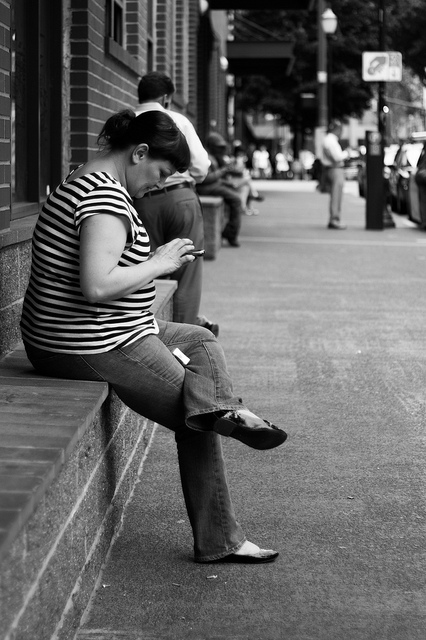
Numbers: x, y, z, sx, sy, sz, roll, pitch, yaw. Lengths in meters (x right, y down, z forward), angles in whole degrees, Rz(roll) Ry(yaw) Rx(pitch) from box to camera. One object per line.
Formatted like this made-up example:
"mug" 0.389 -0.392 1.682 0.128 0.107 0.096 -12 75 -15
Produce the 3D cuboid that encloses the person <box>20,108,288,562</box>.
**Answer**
"person" -0.213 0.052 2.225 0.868 1.412 0.513 3 7 7

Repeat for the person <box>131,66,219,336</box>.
"person" -0.308 -0.904 5.441 0.571 1.977 0.552 11 24 39

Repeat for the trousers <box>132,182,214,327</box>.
"trousers" -0.298 -0.493 5.370 0.527 1.091 0.476 5 8 23

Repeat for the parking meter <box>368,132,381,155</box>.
"parking meter" 3.206 -3.465 13.883 0.265 0.420 0.165 1 7 -2
